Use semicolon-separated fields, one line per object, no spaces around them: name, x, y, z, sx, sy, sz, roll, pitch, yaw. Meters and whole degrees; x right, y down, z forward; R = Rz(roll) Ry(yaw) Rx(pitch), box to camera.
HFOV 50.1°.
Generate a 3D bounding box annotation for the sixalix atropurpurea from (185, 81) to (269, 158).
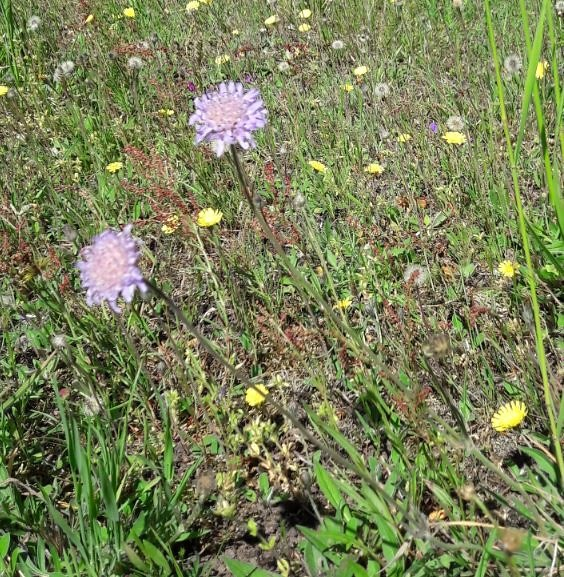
sixalix atropurpurea;-0.140;-0.517;1.634;0.219;0.130;0.283;-5;22;2
